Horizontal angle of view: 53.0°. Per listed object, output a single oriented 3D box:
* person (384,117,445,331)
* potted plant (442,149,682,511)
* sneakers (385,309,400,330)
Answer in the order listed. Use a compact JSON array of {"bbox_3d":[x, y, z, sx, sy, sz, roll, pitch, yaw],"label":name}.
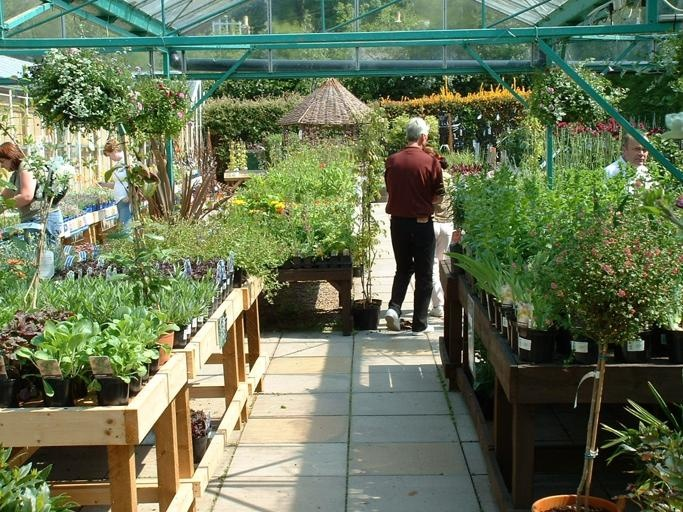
[{"bbox_3d":[0.637,-0.222,6.040,0.496,1.942,0.348,-1,12,3],"label":"person"},{"bbox_3d":[1.125,0.448,3.527,0.890,1.307,1.919,-1,11,1],"label":"potted plant"},{"bbox_3d":[0.448,0.574,6.072,0.081,0.090,0.226,1,-25,16],"label":"sneakers"}]
